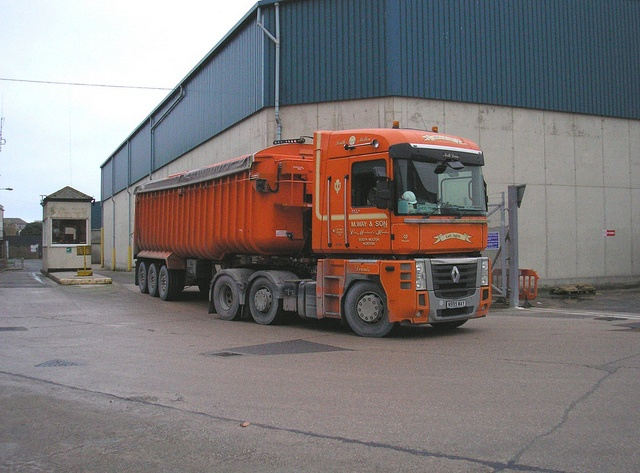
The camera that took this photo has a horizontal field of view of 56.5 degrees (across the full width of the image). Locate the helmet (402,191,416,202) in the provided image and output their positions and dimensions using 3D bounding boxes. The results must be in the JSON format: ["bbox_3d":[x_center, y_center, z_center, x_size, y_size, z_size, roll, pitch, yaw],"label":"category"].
[{"bbox_3d":[1.896,-0.818,12.481,0.216,0.151,0.195,-1,19,0],"label":"helmet"}]
